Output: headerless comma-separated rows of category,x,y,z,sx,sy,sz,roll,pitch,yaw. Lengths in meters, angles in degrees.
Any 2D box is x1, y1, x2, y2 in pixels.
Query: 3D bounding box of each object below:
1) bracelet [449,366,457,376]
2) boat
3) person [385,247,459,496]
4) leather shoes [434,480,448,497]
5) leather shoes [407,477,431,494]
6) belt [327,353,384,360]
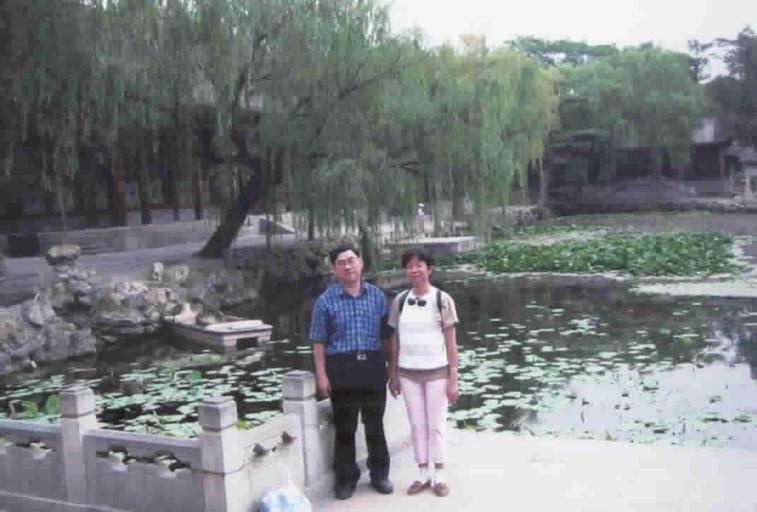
bracelet,0.736,1.133,7.738,0.061,0.060,0.041,-2,2,-9
boat,-3.106,1.334,15.046,2.229,0.752,0.919,0,2,41
person,0.442,1.166,7.853,0.672,2.475,0.268,-1,2,0
leather shoes,0.624,2.335,7.791,0.088,0.069,0.164,0,-3,-8
leather shoes,0.403,2.327,7.895,0.256,0.098,0.094,2,-5,-40
belt,-0.240,0.999,7.810,0.564,0.093,0.057,-2,2,-3
